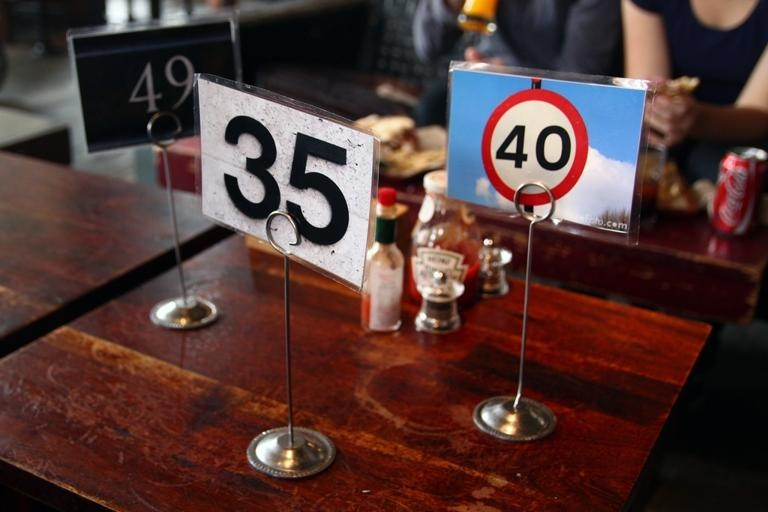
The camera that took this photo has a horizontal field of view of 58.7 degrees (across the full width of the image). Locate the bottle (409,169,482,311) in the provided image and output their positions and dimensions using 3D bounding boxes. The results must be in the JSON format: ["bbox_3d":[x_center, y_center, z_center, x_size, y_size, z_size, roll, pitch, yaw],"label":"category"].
[{"bbox_3d":[0.168,-0.027,1.594,0.181,0.318,0.186,1,41,-1],"label":"bottle"}]
